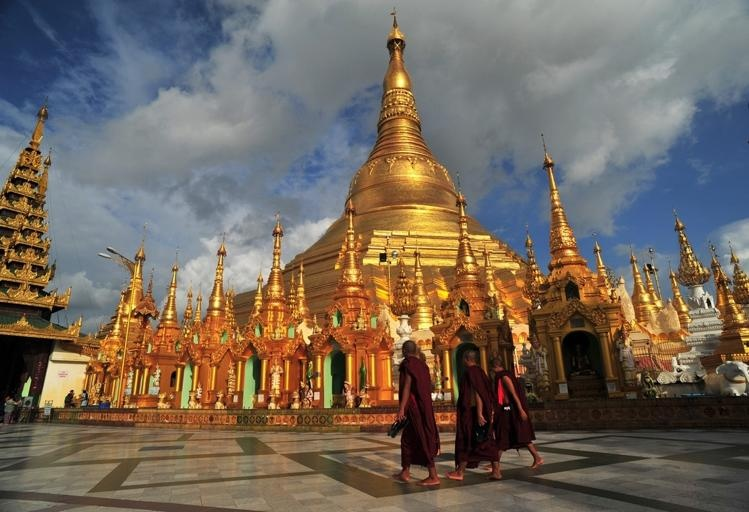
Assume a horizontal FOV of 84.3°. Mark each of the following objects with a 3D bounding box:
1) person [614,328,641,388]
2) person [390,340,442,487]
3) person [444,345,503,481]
[{"bbox_3d":[7.752,3.099,12.767,0.592,1.916,0.374,-1,-21,-6],"label":"person"},{"bbox_3d":[0.647,2.523,6.509,0.631,1.874,0.362,-3,-21,1],"label":"person"},{"bbox_3d":[1.562,2.521,6.803,0.905,1.981,0.577,-2,-21,-2],"label":"person"}]
